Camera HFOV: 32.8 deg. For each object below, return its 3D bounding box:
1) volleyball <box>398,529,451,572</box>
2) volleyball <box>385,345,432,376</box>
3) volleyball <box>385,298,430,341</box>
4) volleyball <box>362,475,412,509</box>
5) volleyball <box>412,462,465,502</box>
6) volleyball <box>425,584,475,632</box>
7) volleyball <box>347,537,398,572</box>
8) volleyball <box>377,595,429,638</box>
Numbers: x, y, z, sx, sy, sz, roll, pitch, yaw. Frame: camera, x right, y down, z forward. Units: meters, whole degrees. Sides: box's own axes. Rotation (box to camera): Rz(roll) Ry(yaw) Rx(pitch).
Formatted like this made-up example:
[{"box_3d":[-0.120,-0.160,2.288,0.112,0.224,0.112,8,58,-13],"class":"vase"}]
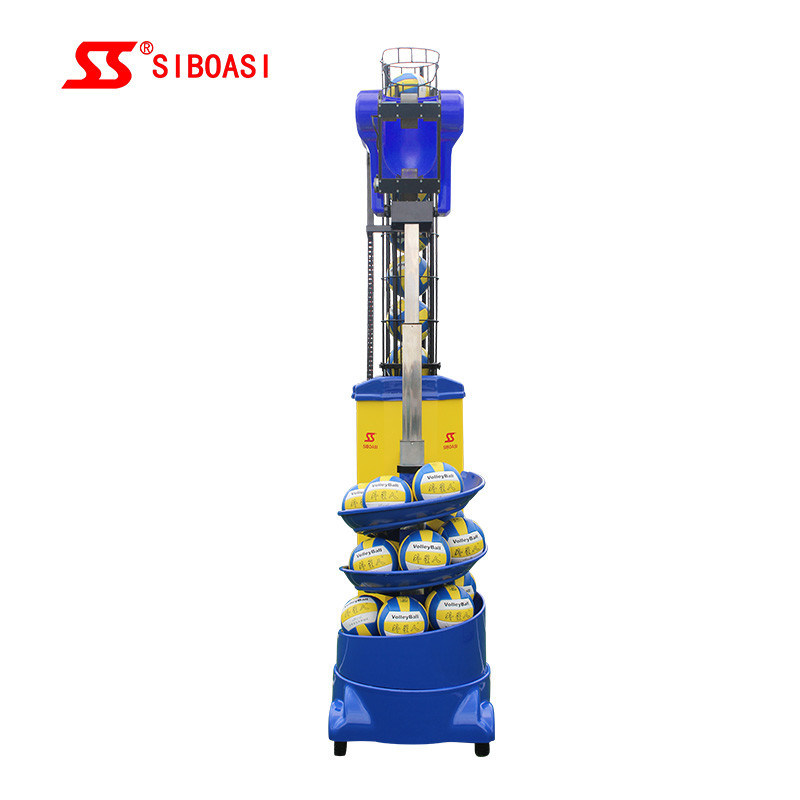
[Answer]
[{"box_3d":[0.119,0.747,6.801,0.206,0.196,0.213,6,-94,-32],"class":"volleyball"},{"box_3d":[0.060,-0.201,7.484,0.171,0.182,0.213,0,-93,14],"class":"volleyball"},{"box_3d":[0.037,-0.425,7.434,0.248,0.269,0.309,1,-80,4],"class":"volleyball"},{"box_3d":[-0.060,0.465,6.779,0.188,0.148,0.154,-3,-81,3],"class":"volleyball"},{"box_3d":[0.201,0.422,6.832,0.183,0.201,0.205,-2,-98,35],"class":"volleyball"},{"box_3d":[0.251,1.048,6.837,0.218,0.226,0.212,5,-20,-12],"class":"volleyball"},{"box_3d":[-0.131,0.768,6.824,0.174,0.180,0.182,-1,-91,12],"class":"volleyball"},{"box_3d":[0.024,1.081,6.744,0.192,0.195,0.200,-1,-86,-7],"class":"volleyball"}]
